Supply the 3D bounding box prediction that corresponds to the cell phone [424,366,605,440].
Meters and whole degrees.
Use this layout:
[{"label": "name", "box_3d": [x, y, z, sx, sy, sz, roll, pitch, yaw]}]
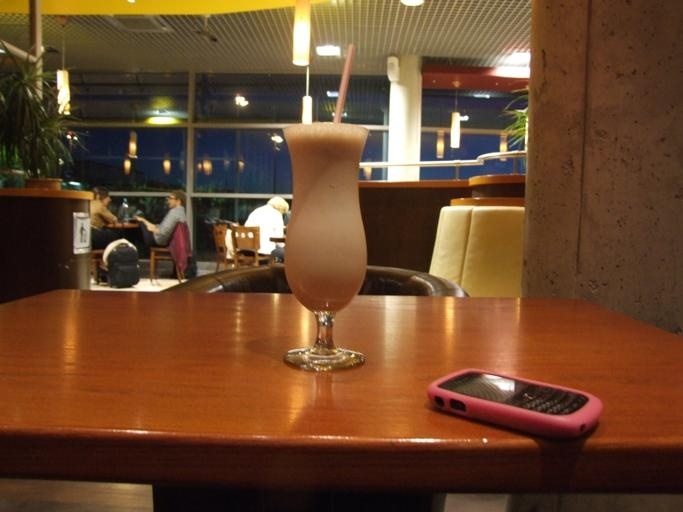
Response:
[{"label": "cell phone", "box_3d": [0.220, 0.158, 0.784, 0.159, 0.039, 0.089, 9, 12, 32]}]
